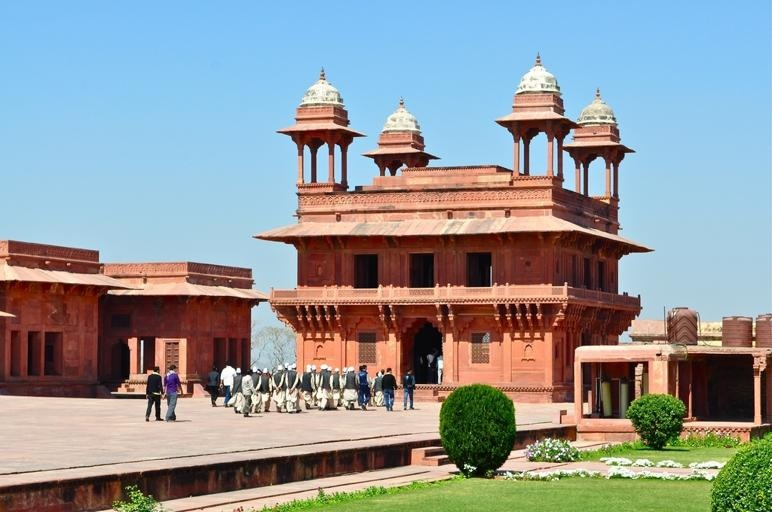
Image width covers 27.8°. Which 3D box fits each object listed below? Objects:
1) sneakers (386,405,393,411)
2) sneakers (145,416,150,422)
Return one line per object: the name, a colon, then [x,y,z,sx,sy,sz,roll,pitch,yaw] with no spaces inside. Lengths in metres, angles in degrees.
sneakers: [0.122,5.340,54.486,0.172,0.195,0.483,0,-8,0]
sneakers: [-7.173,4.941,46.935,0.122,0.115,0.111,0,-1,13]
